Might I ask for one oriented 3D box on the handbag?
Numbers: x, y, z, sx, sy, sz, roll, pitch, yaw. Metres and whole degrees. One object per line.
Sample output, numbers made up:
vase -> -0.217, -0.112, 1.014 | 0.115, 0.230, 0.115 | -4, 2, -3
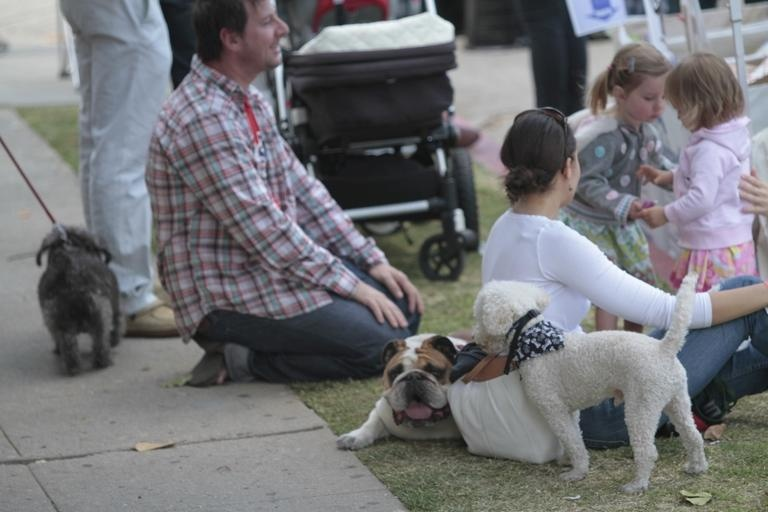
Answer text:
handbag -> 0.528, 0.679, 4.216 | 0.422, 0.352, 0.291 | -10, -11, 10

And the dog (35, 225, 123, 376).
dog -> -1.591, 0.193, 5.181 | 0.427, 0.719, 1.050 | -7, 13, -12

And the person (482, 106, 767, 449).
person -> 0.921, -0.040, 4.654 | 1.568, 1.374, 1.157 | -10, 10, -6

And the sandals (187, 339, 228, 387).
sandals -> -0.858, 0.512, 4.888 | 0.188, 0.209, 0.097 | 2, -8, 6

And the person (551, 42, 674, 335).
person -> 1.247, -0.231, 5.146 | 0.782, 1.511, 0.676 | -1, 25, 15
